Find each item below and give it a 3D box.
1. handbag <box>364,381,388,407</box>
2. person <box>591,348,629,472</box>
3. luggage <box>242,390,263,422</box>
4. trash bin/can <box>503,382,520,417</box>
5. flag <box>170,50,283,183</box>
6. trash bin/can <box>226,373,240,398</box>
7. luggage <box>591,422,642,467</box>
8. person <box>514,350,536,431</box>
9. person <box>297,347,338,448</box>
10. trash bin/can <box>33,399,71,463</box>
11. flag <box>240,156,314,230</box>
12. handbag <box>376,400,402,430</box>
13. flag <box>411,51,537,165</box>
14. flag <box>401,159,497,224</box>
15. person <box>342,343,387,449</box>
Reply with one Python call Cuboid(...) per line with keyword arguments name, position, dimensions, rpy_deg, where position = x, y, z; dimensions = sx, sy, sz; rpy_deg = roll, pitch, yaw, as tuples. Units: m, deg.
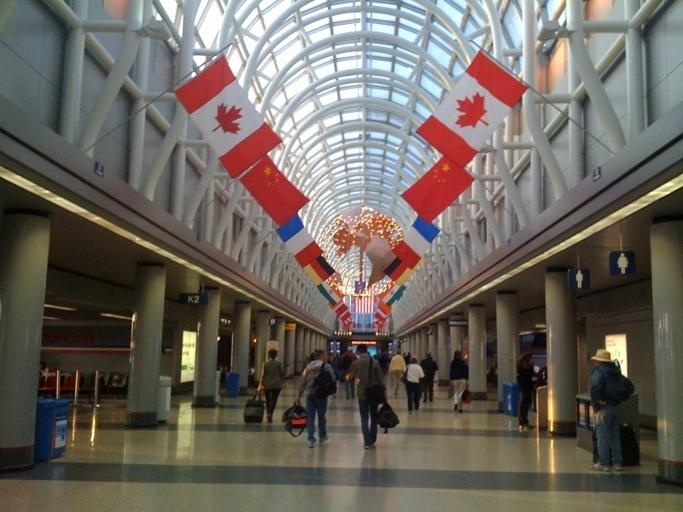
Cuboid(name="handbag", position=(0.818, 3.131, 11.811), dimensions=(0.571, 0.686, 0.375), rpy_deg=(0, -4, 2))
Cuboid(name="person", position=(5.290, 2.863, 10.310), dimensions=(0.872, 2.707, 0.726), rpy_deg=(0, -4, -1))
Cuboid(name="luggage", position=(-2.632, 4.734, 15.514), dimensions=(0.626, 1.154, 0.576), rpy_deg=(-2, -34, 1))
Cuboid(name="trash bin/can", position=(6.625, 5.422, 19.359), dimensions=(0.680, 1.159, 0.740), rpy_deg=(-8, -9, 38))
Cuboid(name="flag", position=(-2.745, -3.333, 12.115), dimensions=(2.150, 2.543, 0.742), rpy_deg=(7, -11, -30))
Cuboid(name="trash bin/can", position=(-5.758, 6.856, 26.870), dimensions=(0.609, 1.167, 0.495), rpy_deg=(6, -11, -27))
Cuboid(name="luggage", position=(5.832, 3.834, 10.678), dimensions=(0.825, 0.961, 1.210), rpy_deg=(3, -8, 10))
Cuboid(name="person", position=(5.773, 4.164, 15.786), dimensions=(0.635, 2.382, 0.706), rpy_deg=(0, -4, -1))
Cuboid(name="person", position=(-0.512, 3.358, 12.185), dimensions=(0.802, 2.327, 0.693), rpy_deg=(4, 2, -7))
Cuboid(name="trash bin/can", position=(-6.074, 3.640, 10.403), dimensions=(0.612, 1.166, 1.090), rpy_deg=(-3, -14, -9))
Cuboid(name="flag", position=(-1.752, -1.678, 13.234), dimensions=(1.481, 2.239, 0.488), rpy_deg=(-37, 13, -6))
Cuboid(name="handbag", position=(1.073, 3.711, 11.790), dimensions=(0.454, 0.662, 0.505), rpy_deg=(0, -10, 7))
Cuboid(name="flag", position=(3.022, -3.436, 11.864), dimensions=(1.643, 2.493, 0.146), rpy_deg=(35, 13, 27))
Cuboid(name="flag", position=(2.467, -1.750, 12.909), dimensions=(1.567, 1.571, 0.727), rpy_deg=(-2, -10, 17))
Cuboid(name="person", position=(0.618, 3.288, 12.035), dimensions=(0.722, 2.326, 1.021), rpy_deg=(0, -4, 2))
